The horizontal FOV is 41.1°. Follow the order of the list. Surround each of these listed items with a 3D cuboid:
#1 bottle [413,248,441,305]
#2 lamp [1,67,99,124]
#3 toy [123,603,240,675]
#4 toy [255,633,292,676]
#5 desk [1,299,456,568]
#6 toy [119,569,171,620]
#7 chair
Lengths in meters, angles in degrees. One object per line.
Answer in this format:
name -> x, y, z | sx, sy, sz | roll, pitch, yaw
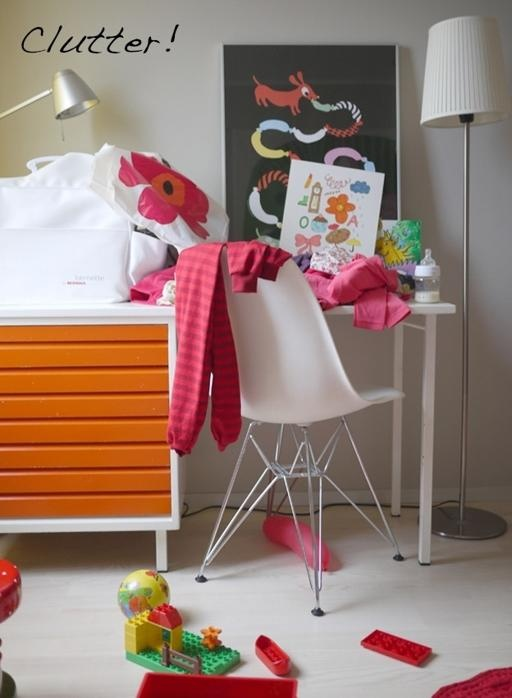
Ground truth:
bottle -> 0.498, -0.215, 1.984 | 0.069, 0.151, 0.227 | 1, 7, 14
lamp -> -0.699, -0.852, 2.264 | 0.361, 0.117, 0.117 | -23, 3, 8
toy -> -0.163, 0.639, 1.502 | 0.225, 0.100, 0.163 | 5, 6, 27
toy -> 0.040, 0.674, 1.502 | 0.070, 0.040, 0.123 | -3, 7, -19
desk -> -0.119, 0.252, 1.986 | 0.942, 0.518, 0.310 | 0, 2, -2
toy -> -0.266, 0.596, 1.674 | 0.122, 0.110, 0.137 | -17, -30, 32
chair -> 0.078, 0.187, 1.860 | 0.669, 0.827, 0.535 | 1, -3, -37
